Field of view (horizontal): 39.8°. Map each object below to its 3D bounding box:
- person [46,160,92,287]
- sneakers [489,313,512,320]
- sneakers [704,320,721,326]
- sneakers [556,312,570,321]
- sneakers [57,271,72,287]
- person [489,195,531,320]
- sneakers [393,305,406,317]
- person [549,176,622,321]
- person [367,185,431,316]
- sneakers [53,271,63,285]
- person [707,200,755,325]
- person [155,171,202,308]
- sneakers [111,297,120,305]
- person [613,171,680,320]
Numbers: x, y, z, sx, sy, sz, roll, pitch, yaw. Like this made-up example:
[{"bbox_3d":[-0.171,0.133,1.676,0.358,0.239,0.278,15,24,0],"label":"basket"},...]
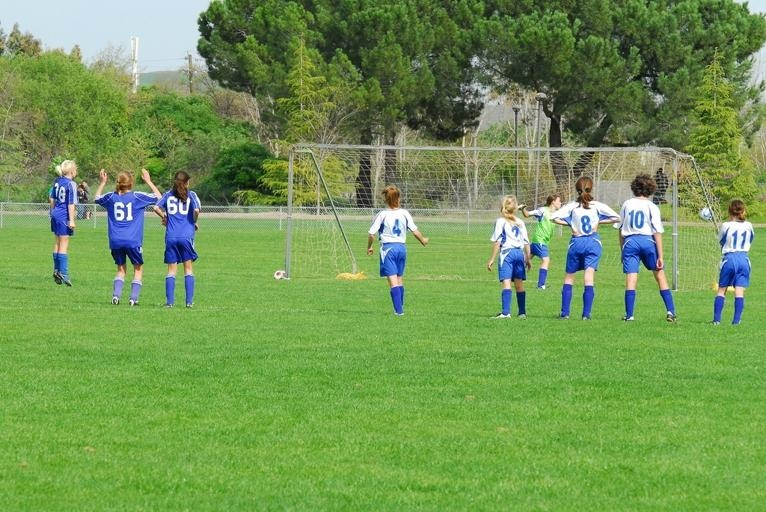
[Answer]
[{"bbox_3d":[-6.657,-0.678,22.011,0.500,2.650,0.868,-1,3,-18],"label":"person"},{"bbox_3d":[2.188,1.102,19.561,0.344,0.136,0.115,1,-3,8],"label":"sneakers"},{"bbox_3d":[5.982,1.202,19.181,0.074,0.090,0.210,2,5,-12],"label":"sneakers"},{"bbox_3d":[3.309,1.105,19.484,0.142,0.144,0.349,2,4,4],"label":"sneakers"},{"bbox_3d":[-6.711,0.474,22.171,0.355,0.126,0.172,32,49,22],"label":"sneakers"},{"bbox_3d":[2.335,0.000,19.586,0.726,2.247,1.142,0,3,8],"label":"person"},{"bbox_3d":[0.291,1.010,19.693,0.093,0.186,0.273,2,7,9],"label":"sneakers"},{"bbox_3d":[3.700,-0.172,19.679,1.069,2.610,1.442,0,3,8],"label":"person"},{"bbox_3d":[0.296,-0.070,19.665,1.279,2.332,0.838,0,0,-17],"label":"person"},{"bbox_3d":[-6.813,0.442,22.105,0.116,0.298,0.127,-35,30,-29],"label":"sneakers"},{"bbox_3d":[6.329,0.084,19.208,0.674,2.263,0.785,1,3,17],"label":"person"},{"bbox_3d":[-3.859,-0.321,19.864,0.752,2.555,1.041,-1,3,-10],"label":"person"},{"bbox_3d":[-5.115,0.834,20.152,0.089,0.102,0.246,2,4,-4],"label":"sneakers"},{"bbox_3d":[4.795,-0.163,19.350,1.027,2.683,0.976,0,3,12],"label":"person"}]
